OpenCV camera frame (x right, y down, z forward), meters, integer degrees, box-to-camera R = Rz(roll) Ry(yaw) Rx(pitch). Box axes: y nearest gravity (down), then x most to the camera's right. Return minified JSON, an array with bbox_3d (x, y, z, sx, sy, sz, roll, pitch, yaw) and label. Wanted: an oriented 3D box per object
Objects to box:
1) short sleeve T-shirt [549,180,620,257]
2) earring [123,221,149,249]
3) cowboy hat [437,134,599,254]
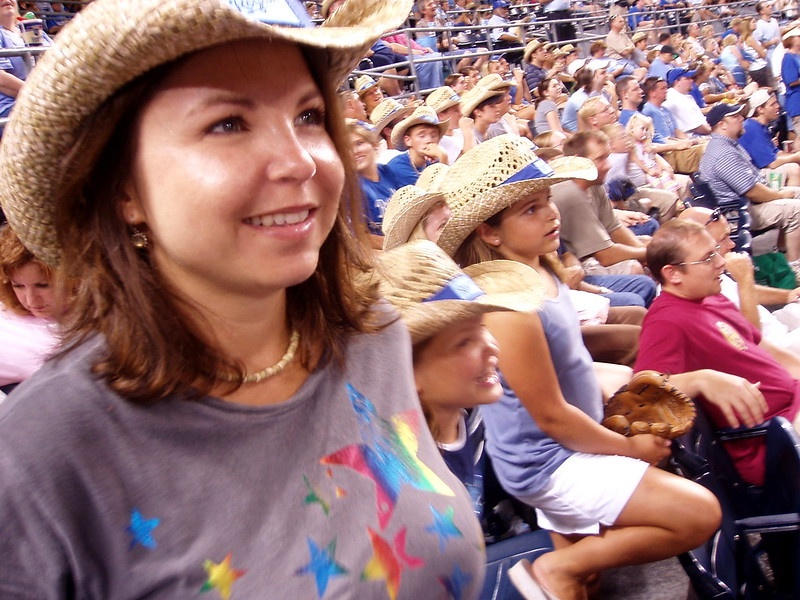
[{"bbox_3d":[1.603,-0.721,5.589,0.491,0.628,0.845,3,17,28],"label":"short sleeve T-shirt"},{"bbox_3d":[-0.443,-0.110,1.098,0.039,0.037,0.012,27,23,17],"label":"earring"},{"bbox_3d":[0.411,-0.511,2.822,0.637,0.260,0.536,-33,3,28],"label":"cowboy hat"}]
